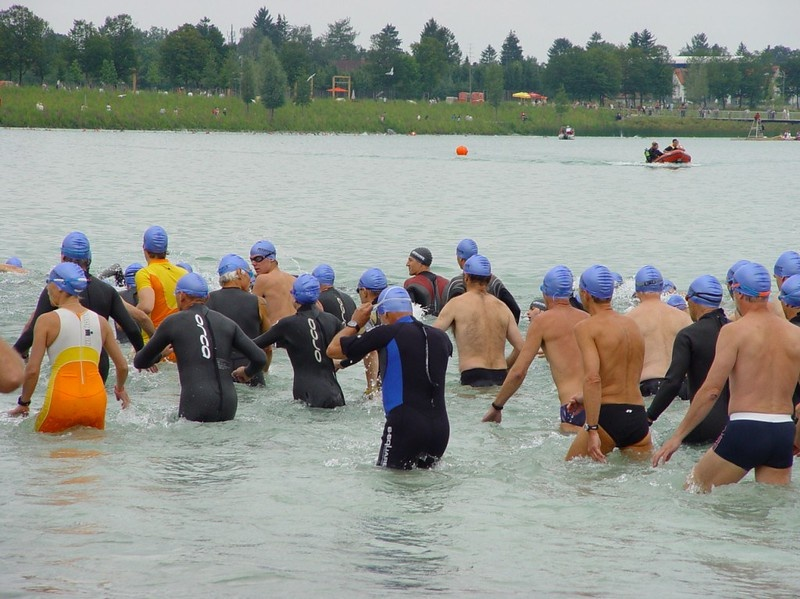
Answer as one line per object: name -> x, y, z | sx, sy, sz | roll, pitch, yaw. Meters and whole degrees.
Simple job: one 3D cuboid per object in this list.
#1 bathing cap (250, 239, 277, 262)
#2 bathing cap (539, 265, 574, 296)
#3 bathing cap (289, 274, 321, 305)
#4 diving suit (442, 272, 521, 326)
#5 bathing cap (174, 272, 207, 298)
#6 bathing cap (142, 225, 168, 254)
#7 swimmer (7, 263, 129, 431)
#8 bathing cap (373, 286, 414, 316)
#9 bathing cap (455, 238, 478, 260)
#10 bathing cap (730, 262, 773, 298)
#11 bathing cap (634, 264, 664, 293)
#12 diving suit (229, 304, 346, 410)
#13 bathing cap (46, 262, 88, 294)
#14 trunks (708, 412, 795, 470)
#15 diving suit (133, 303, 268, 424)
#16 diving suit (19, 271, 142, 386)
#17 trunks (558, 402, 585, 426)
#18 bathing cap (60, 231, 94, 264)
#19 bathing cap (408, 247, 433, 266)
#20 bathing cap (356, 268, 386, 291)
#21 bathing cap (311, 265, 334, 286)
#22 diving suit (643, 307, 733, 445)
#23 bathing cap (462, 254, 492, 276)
bathing cap -> -2.146, -0.783, 18.327 | 0.396, 0.329, 0.308 | 5, -1, -26
bathing cap -> 2.087, -0.217, 15.167 | 0.378, 0.402, 0.384 | 3, 14, 3
bathing cap -> -1.294, -0.102, 15.930 | 0.334, 0.409, 0.433 | 0, 60, -20
diving suit -> 1.376, 0.043, 18.212 | 1.104, 1.134, 0.408 | -6, 41, 15
bathing cap -> -2.696, -0.227, 15.097 | 0.301, 0.310, 0.368 | -1, 30, -34
bathing cap -> -3.764, -0.970, 17.802 | 0.325, 0.280, 0.465 | -8, 36, -26
swimmer -> -4.072, 0.647, 14.495 | 1.272, 2.224, 0.562 | -3, 15, -17
bathing cap -> -0.055, 0.004, 13.672 | 0.330, 0.280, 0.340 | -1, 15, -9
bathing cap -> 1.111, -0.825, 18.735 | 0.317, 0.365, 0.421 | 0, 23, -4
bathing cap -> 4.004, -0.259, 13.108 | 0.347, 0.361, 0.421 | 4, 26, -8
bathing cap -> 3.654, -0.277, 16.818 | 0.356, 0.397, 0.438 | -1, 14, -10
diving suit -> -1.564, 0.829, 16.186 | 1.337, 1.660, 0.527 | -9, 43, -1
bathing cap -> -4.119, -0.221, 14.340 | 0.430, 0.466, 0.470 | -3, 15, -19
trunks -> 3.984, 1.565, 13.107 | 1.146, 0.716, 0.601 | 0, 11, -3
diving suit -> -2.653, 0.899, 15.698 | 1.216, 1.964, 0.896 | -11, 18, -26
diving suit -> -4.156, 0.442, 15.306 | 1.625, 2.227, 0.792 | -3, 18, -20
trunks -> 2.235, 1.530, 15.000 | 0.347, 0.279, 0.208 | -1, 5, 16
bathing cap -> -4.446, -0.707, 15.945 | 0.365, 0.354, 0.442 | -2, 27, -21
bathing cap -> 0.376, -0.746, 19.723 | 0.273, 0.294, 0.348 | 7, 23, -35
bathing cap -> -0.374, -0.270, 16.389 | 0.365, 0.292, 0.388 | 3, 14, 2
bathing cap -> -1.126, -0.375, 17.457 | 0.262, 0.305, 0.350 | -4, 26, -20
diving suit -> 3.678, 1.077, 14.415 | 0.741, 1.825, 1.120 | 11, 17, 32
bathing cap -> 1.113, -0.465, 16.389 | 0.364, 0.341, 0.348 | 2, 14, 0
